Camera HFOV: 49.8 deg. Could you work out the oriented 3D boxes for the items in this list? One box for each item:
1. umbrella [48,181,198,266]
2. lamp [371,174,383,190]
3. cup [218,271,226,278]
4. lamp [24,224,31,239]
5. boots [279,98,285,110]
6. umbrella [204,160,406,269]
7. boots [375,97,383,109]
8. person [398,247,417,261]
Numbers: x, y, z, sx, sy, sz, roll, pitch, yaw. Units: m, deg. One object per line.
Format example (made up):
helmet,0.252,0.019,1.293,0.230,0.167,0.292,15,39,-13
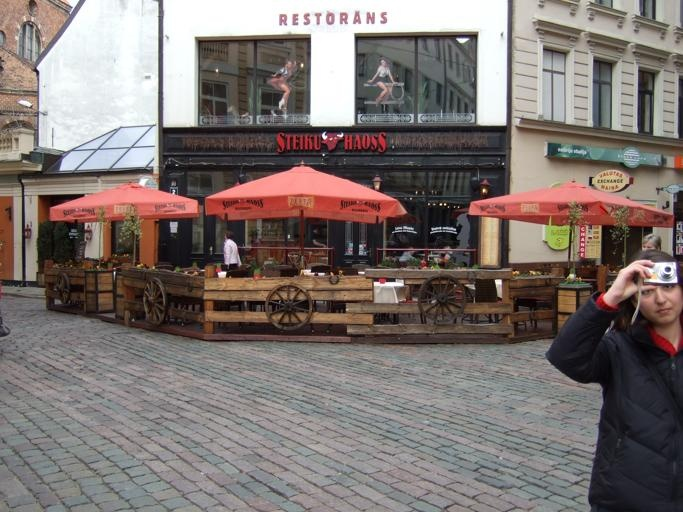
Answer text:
umbrella,-5.081,-0.764,17.317,3.217,1.755,1.554,5,11,31
lamp,1.038,-2.128,21.635,0.481,0.461,0.387,1,11,4
cup,-2.755,0.442,16.947,0.239,0.139,0.216,0,-3,-15
lamp,-10.567,-0.799,24.824,0.318,0.390,0.101,6,2,12
boots,-1.828,-4.607,22.528,0.171,0.304,0.084,-1,9,-2
umbrella,-0.943,-1.153,15.086,2.797,1.610,2.846,8,7,40
boots,1.114,-4.590,22.274,0.306,0.177,0.131,-22,0,-8
person,2.065,-0.014,21.439,0.537,0.382,0.755,-4,1,17
